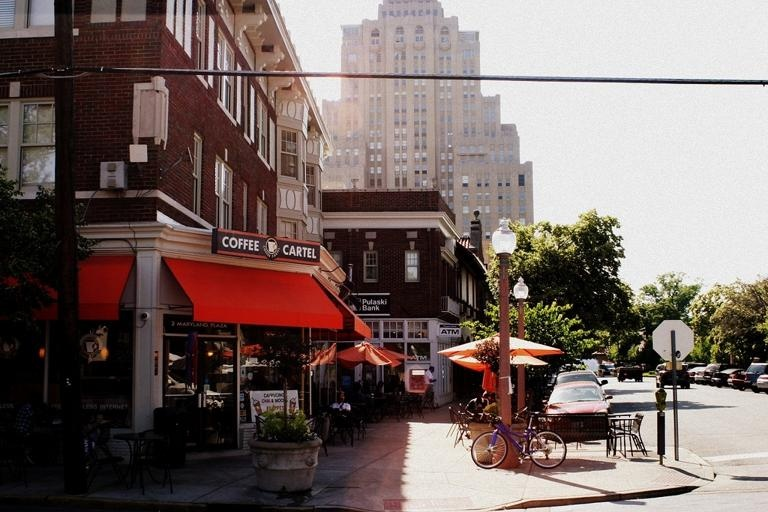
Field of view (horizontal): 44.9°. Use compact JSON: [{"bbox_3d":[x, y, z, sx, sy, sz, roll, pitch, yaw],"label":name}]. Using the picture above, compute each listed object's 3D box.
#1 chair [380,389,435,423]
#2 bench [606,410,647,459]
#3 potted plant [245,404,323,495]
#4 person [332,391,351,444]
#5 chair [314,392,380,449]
[{"bbox_3d":[0.791,6.732,41.734,1.654,1.184,3.430,-5,-11,19],"label":"chair"},{"bbox_3d":[7.273,5.354,28.009,1.115,1.229,1.137,1,11,36],"label":"bench"},{"bbox_3d":[-2.428,4.807,22.911,1.576,1.803,1.783,0,-11,0],"label":"potted plant"},{"bbox_3d":[-1.444,5.320,31.126,0.631,1.660,1.939,-1,-10,-3],"label":"person"},{"bbox_3d":[-1.445,5.600,30.602,1.381,1.548,1.919,0,3,7],"label":"chair"}]
